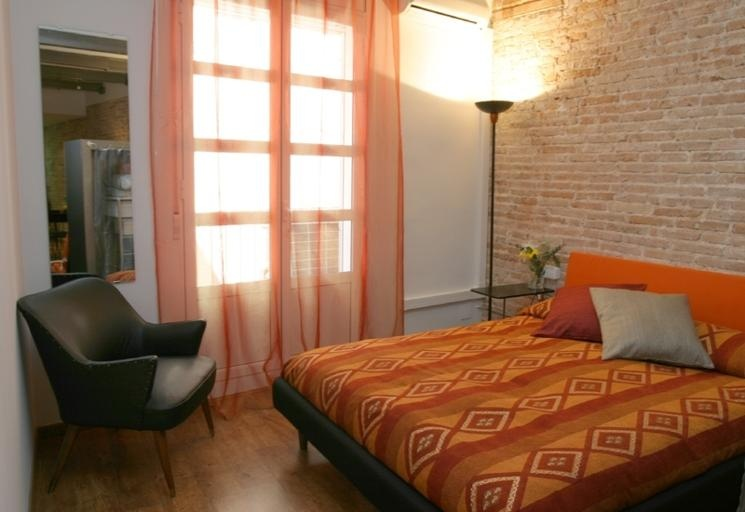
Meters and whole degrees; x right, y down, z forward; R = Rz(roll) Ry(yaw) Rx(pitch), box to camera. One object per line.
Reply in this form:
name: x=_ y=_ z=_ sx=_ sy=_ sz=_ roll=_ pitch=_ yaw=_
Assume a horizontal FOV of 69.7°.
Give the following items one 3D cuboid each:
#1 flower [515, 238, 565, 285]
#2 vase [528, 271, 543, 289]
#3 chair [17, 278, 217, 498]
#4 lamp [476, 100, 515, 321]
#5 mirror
flower: x=1.556 y=0.069 z=4.972 sx=0.416 sy=0.434 sz=0.468 roll=5 pitch=0 yaw=42
vase: x=1.539 y=0.209 z=5.019 sx=0.144 sy=0.153 sz=0.140 roll=2 pitch=9 yaw=4
chair: x=-1.629 y=0.809 z=3.564 sx=1.123 sy=1.091 sz=0.926 roll=6 pitch=11 yaw=-6
lamp: x=1.172 y=-0.581 z=5.208 sx=0.375 sy=1.890 sz=0.350 roll=-8 pitch=12 yaw=-25
mirror: x=-2.010 y=-0.726 z=3.799 sx=0.658 sy=1.827 sz=0.132 roll=-7 pitch=10 yaw=-22
